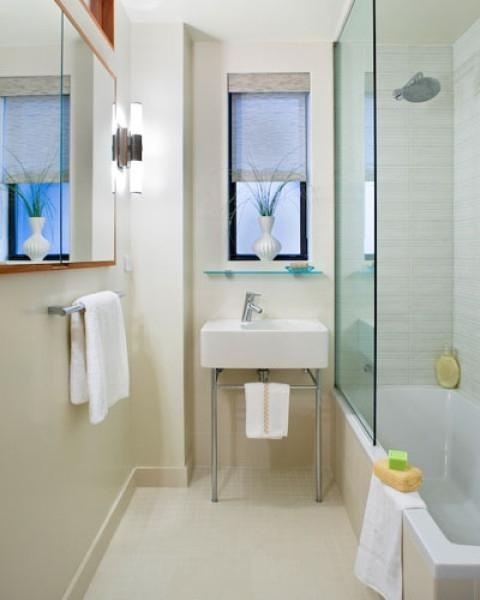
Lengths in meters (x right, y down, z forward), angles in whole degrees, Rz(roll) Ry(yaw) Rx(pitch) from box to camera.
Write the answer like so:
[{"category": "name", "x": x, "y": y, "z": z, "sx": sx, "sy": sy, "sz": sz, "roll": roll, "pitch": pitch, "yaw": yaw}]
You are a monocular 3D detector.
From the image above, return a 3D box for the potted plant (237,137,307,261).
[{"category": "potted plant", "x": 0.158, "y": -0.561, "z": 2.659, "sx": 0.428, "sy": 0.894, "sz": 0.299, "roll": 0, "pitch": 2, "yaw": -5}]

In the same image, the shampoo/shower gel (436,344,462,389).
[{"category": "shampoo/shower gel", "x": 0.979, "y": 0.290, "z": 2.342, "sx": 0.105, "sy": 0.291, "sz": 0.167, "roll": 1, "pitch": 0, "yaw": 25}]

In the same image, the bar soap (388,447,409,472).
[{"category": "bar soap", "x": 0.485, "y": 0.466, "z": 1.516, "sx": 0.059, "sy": 0.053, "sz": 0.071, "roll": 0, "pitch": -2, "yaw": 16}]

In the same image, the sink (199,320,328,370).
[{"category": "sink", "x": 0.111, "y": 0.235, "z": 2.334, "sx": 0.544, "sy": 0.252, "sz": 0.368, "roll": 0, "pitch": 6, "yaw": 2}]

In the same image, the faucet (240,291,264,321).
[{"category": "faucet", "x": 0.069, "y": 0.026, "z": 2.439, "sx": 0.084, "sy": 0.227, "sz": 0.186, "roll": 4, "pitch": 0, "yaw": 15}]

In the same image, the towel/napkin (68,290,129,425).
[{"category": "towel/napkin", "x": -0.497, "y": 0.185, "z": 1.776, "sx": 0.154, "sy": 0.413, "sz": 0.404, "roll": -1, "pitch": 6, "yaw": -6}]
